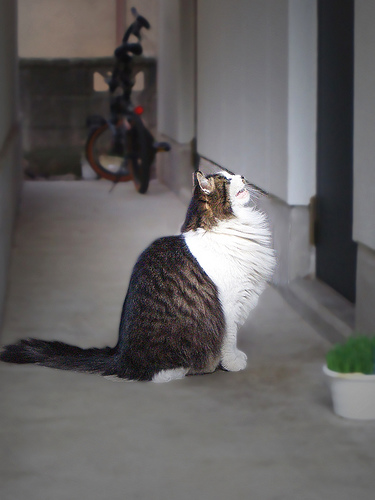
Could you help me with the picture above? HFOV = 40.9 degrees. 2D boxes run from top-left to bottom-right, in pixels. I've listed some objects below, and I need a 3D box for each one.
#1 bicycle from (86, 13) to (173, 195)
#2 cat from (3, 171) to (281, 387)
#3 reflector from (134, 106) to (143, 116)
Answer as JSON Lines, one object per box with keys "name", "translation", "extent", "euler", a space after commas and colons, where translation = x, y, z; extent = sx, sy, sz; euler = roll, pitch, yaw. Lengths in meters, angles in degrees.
{"name": "bicycle", "translation": [-0.255, -0.695, 2.296], "extent": [0.335, 0.416, 0.662], "euler": [-2, 44, -8]}
{"name": "cat", "translation": [-0.111, 0.083, 1.683], "extent": [0.789, 0.682, 0.336], "euler": [4, 14, 19]}
{"name": "reflector", "translation": [-0.202, -0.589, 2.132], "extent": [0.029, 0.031, 0.007], "euler": [15, 17, -31]}
